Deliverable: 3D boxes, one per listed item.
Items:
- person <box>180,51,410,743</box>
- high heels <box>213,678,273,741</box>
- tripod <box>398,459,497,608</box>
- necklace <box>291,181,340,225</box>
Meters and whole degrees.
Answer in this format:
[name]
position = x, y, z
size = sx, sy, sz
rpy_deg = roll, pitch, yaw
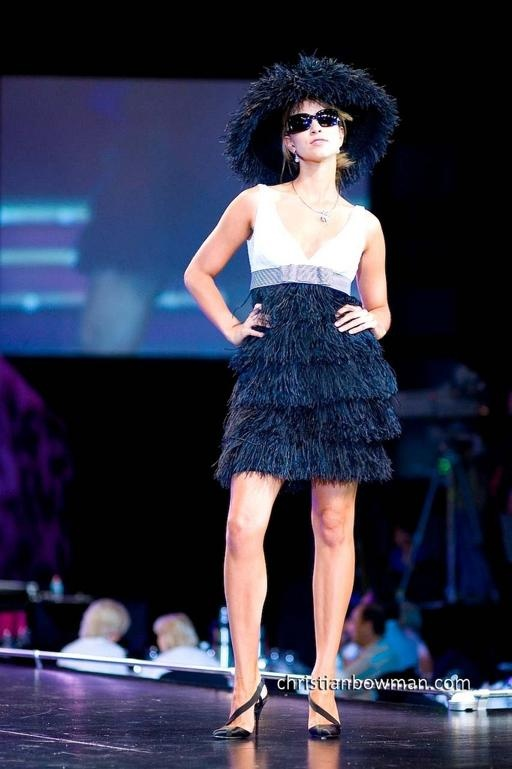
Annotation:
[person]
position = 0.095, -0.017, 2.117
size = 0.498, 1.477, 0.311
rpy_deg = 5, -14, -15
[high heels]
position = -0.021, 0.642, 1.918
size = 0.059, 0.101, 0.151
rpy_deg = -16, -15, 40
[tripod]
position = 0.651, 0.508, 3.323
size = 0.313, 0.467, 0.028
rpy_deg = -3, -14, 19
[necklace]
position = 0.126, -0.407, 2.167
size = 0.100, 0.088, 0.028
rpy_deg = -7, -31, -36
